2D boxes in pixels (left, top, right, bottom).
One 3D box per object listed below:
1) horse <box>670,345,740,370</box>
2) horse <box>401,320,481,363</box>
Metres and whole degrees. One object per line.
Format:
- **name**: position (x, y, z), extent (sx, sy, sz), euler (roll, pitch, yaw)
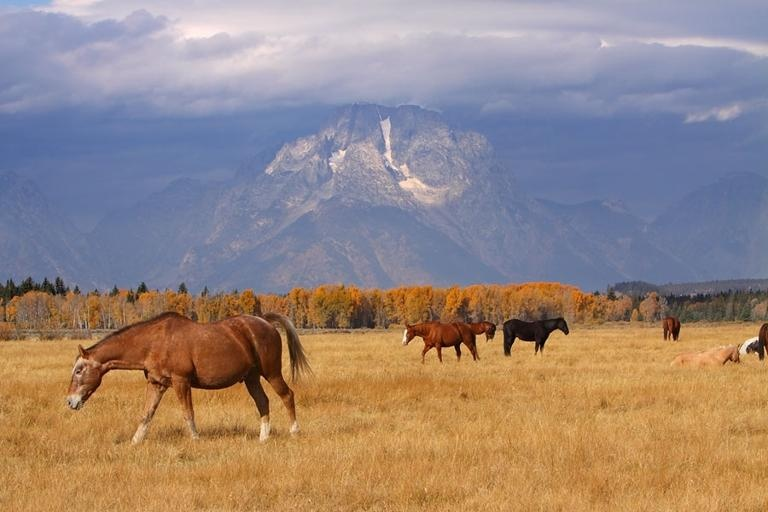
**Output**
- **horse**: position (17.293, 5.496, 71.022), extent (4.257, 0.994, 1.612), euler (-7, 10, -36)
- **horse**: position (3.373, 4.909, 75.614), extent (4.218, 2.526, 3.015), euler (1, 8, 15)
